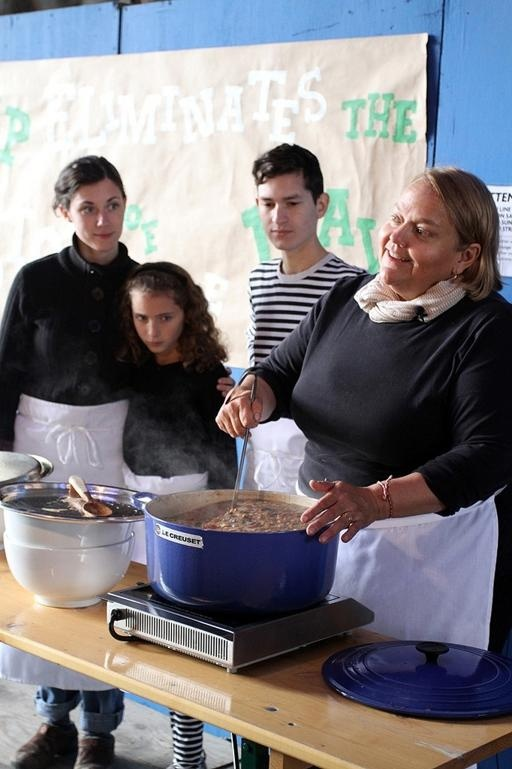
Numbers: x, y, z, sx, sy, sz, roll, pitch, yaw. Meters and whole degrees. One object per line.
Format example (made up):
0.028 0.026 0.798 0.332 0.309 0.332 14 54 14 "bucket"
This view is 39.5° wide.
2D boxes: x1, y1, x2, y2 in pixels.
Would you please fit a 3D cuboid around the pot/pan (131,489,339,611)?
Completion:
-0.058 0.242 1.046 0.225 0.078 0.200 2 -3 -36 "pot/pan"

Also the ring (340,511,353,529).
0.135 0.200 1.058 0.021 0.023 0.025 -1 -6 -1 "ring"

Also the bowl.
-0.297 0.271 1.222 0.208 0.124 0.193 3 -4 0 "bowl"

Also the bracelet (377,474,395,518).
0.211 0.180 1.155 0.015 0.049 0.040 4 -19 -10 "bracelet"
